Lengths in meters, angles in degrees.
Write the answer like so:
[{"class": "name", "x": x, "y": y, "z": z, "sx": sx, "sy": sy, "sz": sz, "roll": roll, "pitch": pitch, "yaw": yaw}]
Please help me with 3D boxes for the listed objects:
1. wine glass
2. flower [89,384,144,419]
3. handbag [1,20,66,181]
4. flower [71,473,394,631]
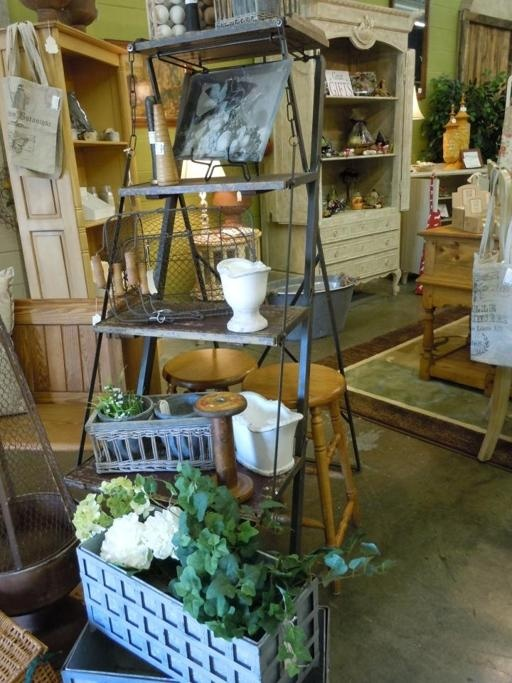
[{"class": "wine glass", "x": -0.021, "y": -0.109, "z": 1.325, "sx": 0.130, "sy": 0.157, "sz": 0.131, "roll": 11, "pitch": 21, "yaw": 36}, {"class": "flower", "x": -0.358, "y": 0.164, "z": 1.457, "sx": 0.106, "sy": 0.055, "sz": 0.099, "roll": 9, "pitch": 18, "yaw": 25}, {"class": "handbag", "x": -1.096, "y": -1.124, "z": 2.637, "sx": 0.289, "sy": 0.690, "sz": 0.233, "roll": 9, "pitch": 23, "yaw": 30}, {"class": "flower", "x": -0.064, "y": 0.391, "z": 0.964, "sx": 0.487, "sy": 0.178, "sz": 0.285, "roll": -6, "pitch": 32, "yaw": 20}]
